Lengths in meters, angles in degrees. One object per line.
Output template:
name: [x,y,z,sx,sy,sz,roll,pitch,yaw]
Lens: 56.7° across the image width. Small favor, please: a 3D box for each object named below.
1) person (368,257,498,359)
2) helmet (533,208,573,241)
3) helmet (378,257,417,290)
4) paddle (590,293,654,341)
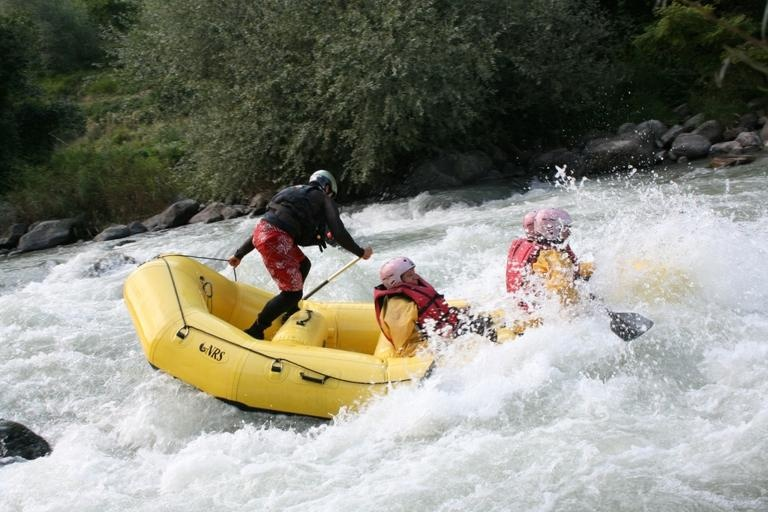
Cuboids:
person: [0.789,0.639,9.353,1.606,1.529,0.999,-11,20,19]
helmet: [2.227,-0.414,9.438,0.525,0.401,0.362,-2,18,2]
helmet: [0.191,0.215,9.228,0.483,0.325,0.342,-4,3,4]
paddle: [3.146,0.857,9.470,0.718,0.469,0.398,24,55,41]
